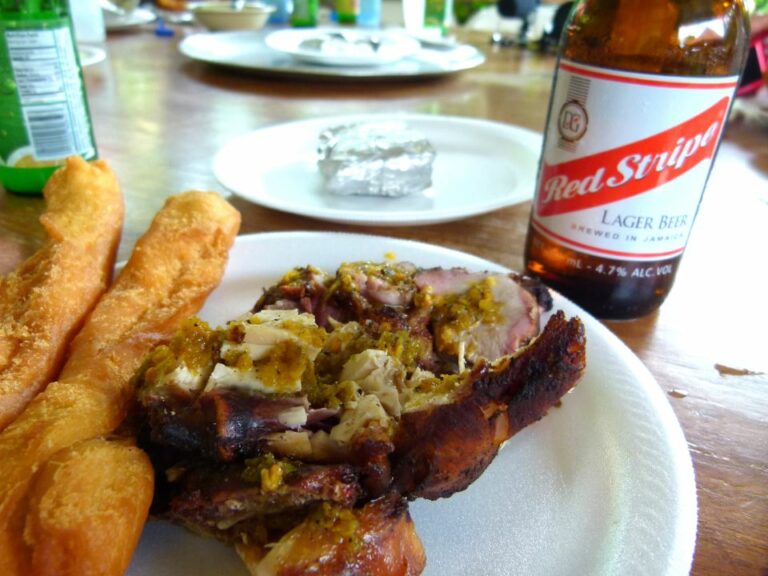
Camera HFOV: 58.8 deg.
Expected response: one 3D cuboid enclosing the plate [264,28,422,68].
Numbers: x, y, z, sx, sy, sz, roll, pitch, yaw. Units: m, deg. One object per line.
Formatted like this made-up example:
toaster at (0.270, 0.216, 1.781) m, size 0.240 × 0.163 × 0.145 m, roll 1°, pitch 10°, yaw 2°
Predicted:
plate at (-0.136, -0.712, 2.017) m, size 0.292 × 0.037 × 0.238 m, roll 1°, pitch 29°, yaw -4°
